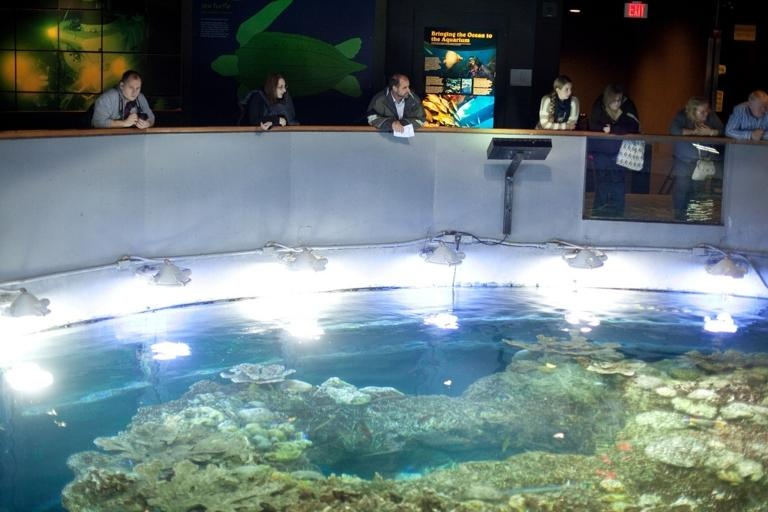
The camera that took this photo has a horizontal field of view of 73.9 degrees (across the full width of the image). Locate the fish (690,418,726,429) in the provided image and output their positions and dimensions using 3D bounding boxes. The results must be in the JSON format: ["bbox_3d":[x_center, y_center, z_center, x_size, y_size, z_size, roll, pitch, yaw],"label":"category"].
[{"bbox_3d":[2.497,1.306,3.978,0.283,0.018,0.145,1,9,3],"label":"fish"}]

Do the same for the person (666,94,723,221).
[{"bbox_3d":[4.129,-1.300,6.883,0.735,1.643,0.508,1,9,7],"label":"person"}]

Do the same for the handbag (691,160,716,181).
[{"bbox_3d":[4.183,-1.126,6.745,0.255,0.265,0.131,8,5,-2],"label":"handbag"}]

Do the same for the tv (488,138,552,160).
[{"bbox_3d":[1.653,-1.322,6.403,0.493,0.112,0.333,0,-13,-5],"label":"tv"}]

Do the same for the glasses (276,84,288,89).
[{"bbox_3d":[-1.280,-2.130,6.424,0.047,0.050,0.167,2,9,13],"label":"glasses"}]

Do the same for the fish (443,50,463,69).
[{"bbox_3d":[1.091,-3.229,8.319,0.253,0.287,0.115,-8,4,3],"label":"fish"}]

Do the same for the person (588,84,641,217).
[{"bbox_3d":[3.072,-1.425,6.942,0.600,1.774,0.657,4,10,23],"label":"person"}]

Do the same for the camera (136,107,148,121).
[{"bbox_3d":[-2.727,-1.603,5.750,0.085,0.077,0.291,-15,41,-18],"label":"camera"}]

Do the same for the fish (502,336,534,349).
[{"bbox_3d":[1.342,0.892,5.228,0.295,0.037,0.195,9,13,43],"label":"fish"}]
